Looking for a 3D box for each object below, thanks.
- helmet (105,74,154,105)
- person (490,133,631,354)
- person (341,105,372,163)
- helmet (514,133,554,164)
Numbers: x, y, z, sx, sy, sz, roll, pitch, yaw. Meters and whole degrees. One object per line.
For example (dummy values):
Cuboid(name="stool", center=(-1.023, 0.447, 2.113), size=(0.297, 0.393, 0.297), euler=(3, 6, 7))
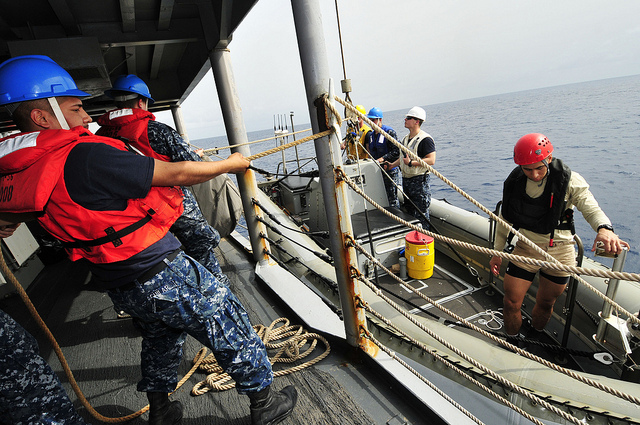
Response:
Cuboid(name="helmet", center=(-1.931, -1.264, 4.041), size=(0.329, 0.202, 0.420), euler=(27, 44, 16))
Cuboid(name="person", center=(2.389, 0.367, 4.161), size=(1.084, 2.374, 0.688), euler=(1, 21, 32))
Cuboid(name="person", center=(0.517, -1.017, 5.253), size=(0.322, 0.363, 1.051), euler=(-16, 56, 14))
Cuboid(name="helmet", center=(2.175, -0.645, 4.020), size=(0.371, 0.291, 0.293), euler=(-6, 9, -5))
